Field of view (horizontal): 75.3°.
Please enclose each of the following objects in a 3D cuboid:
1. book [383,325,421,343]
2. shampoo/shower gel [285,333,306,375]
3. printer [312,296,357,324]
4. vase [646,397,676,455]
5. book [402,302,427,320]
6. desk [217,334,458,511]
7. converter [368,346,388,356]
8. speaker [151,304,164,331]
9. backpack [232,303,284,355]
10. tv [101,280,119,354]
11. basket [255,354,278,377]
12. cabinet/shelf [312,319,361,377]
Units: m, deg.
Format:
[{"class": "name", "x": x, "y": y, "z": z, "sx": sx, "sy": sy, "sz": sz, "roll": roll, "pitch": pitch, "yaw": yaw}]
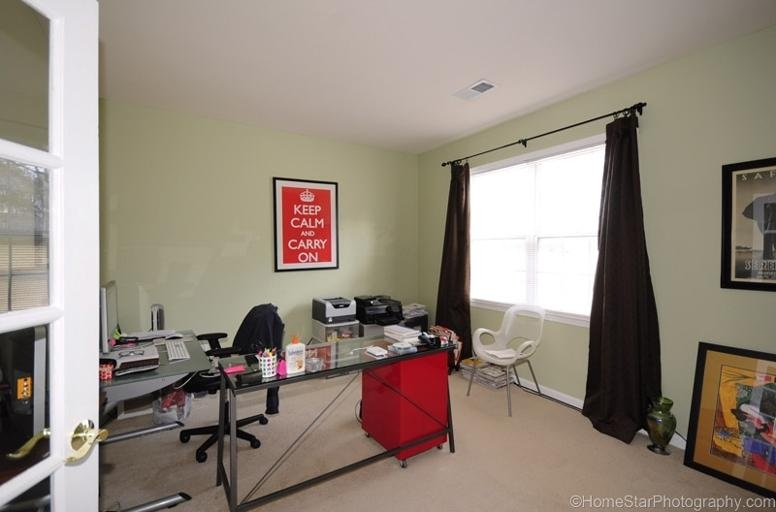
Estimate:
[{"class": "book", "x": 0.158, "y": 0.664, "z": 4.286, "sx": 0.204, "sy": 0.069, "sz": 0.156, "roll": -1, "pitch": 4, "yaw": -36}, {"class": "shampoo/shower gel", "x": -0.683, "y": 0.731, "z": 3.721, "sx": 0.144, "sy": 0.297, "sz": 0.224, "roll": -1, "pitch": 0, "yaw": -10}, {"class": "printer", "x": -0.625, "y": 0.638, "z": 5.886, "sx": 0.448, "sy": 0.295, "sz": 0.452, "roll": 0, "pitch": -1, "yaw": -22}, {"class": "vase", "x": 2.359, "y": 1.455, "z": 4.308, "sx": 0.270, "sy": 0.459, "sz": 0.194, "roll": -1, "pitch": 0, "yaw": 7}, {"class": "book", "x": 0.297, "y": 0.705, "z": 6.360, "sx": 0.247, "sy": 0.178, "sz": 0.466, "roll": -1, "pitch": -1, "yaw": 41}, {"class": "desk", "x": -0.413, "y": 1.292, "z": 4.202, "sx": 1.889, "sy": 1.333, "sz": 0.902, "roll": 0, "pitch": 0, "yaw": -29}, {"class": "converter", "x": -0.095, "y": 0.774, "z": 4.053, "sx": 0.178, "sy": 0.071, "sz": 0.193, "roll": -1, "pitch": -1, "yaw": 0}, {"class": "speaker", "x": -2.082, "y": 0.562, "z": 4.551, "sx": 0.095, "sy": 0.241, "sz": 0.163, "roll": -1, "pitch": 0, "yaw": -32}, {"class": "backpack", "x": -1.205, "y": 0.688, "z": 4.622, "sx": 0.459, "sy": 0.538, "sz": 0.317, "roll": 9, "pitch": 3, "yaw": 40}, {"class": "tv", "x": -2.142, "y": 0.489, "z": 3.862, "sx": 0.068, "sy": 0.369, "sz": 0.519, "roll": 0, "pitch": 2, "yaw": -18}, {"class": "basket", "x": -0.873, "y": 0.795, "z": 3.621, "sx": 0.141, "sy": 0.142, "sz": 0.149, "roll": 0, "pitch": -6, "yaw": -8}, {"class": "cabinet/shelf", "x": -0.637, "y": 1.037, "z": 5.789, "sx": 0.500, "sy": 0.684, "sz": 0.473, "roll": 0, "pitch": -1, "yaw": -33}]
